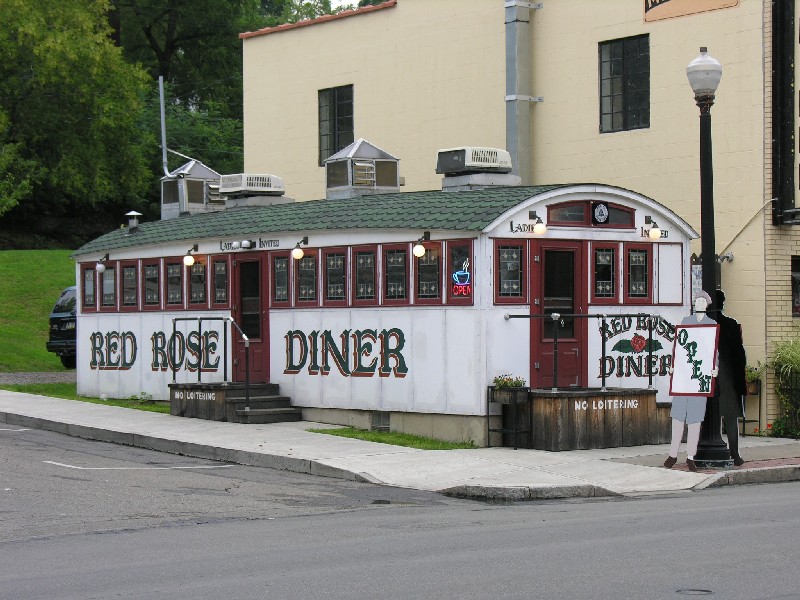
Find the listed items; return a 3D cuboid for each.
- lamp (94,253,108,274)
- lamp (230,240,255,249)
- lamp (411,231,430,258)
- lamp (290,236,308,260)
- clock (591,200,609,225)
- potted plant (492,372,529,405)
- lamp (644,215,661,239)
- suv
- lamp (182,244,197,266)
[{"bbox_3d":[-7.171,-0.832,41.243,0.300,0.453,0.229,-8,16,-40],"label":"lamp"},{"bbox_3d":[-3.489,-1.198,38.243,0.724,0.184,0.231,-3,-15,41],"label":"lamp"},{"bbox_3d":[0.477,-1.098,35.131,0.326,0.525,0.449,7,-11,-3],"label":"lamp"},{"bbox_3d":[-2.138,-1.082,37.247,0.299,0.497,0.441,9,-11,-10],"label":"lamp"},{"bbox_3d":[4.169,-1.779,35.412,0.518,0.470,0.067,0,-1,-40],"label":"clock"},{"bbox_3d":[2.286,1.789,34.041,0.546,0.675,0.704,0,1,-36],"label":"potted plant"},{"bbox_3d":[5.379,-1.484,36.106,0.334,0.513,0.463,0,-1,-31],"label":"lamp"},{"bbox_3d":[-7.937,0.732,43.121,1.934,1.864,4.085,-1,6,-12],"label":"suv"},{"bbox_3d":[-4.781,-0.994,39.349,0.290,0.478,0.499,9,-11,-11],"label":"lamp"}]
